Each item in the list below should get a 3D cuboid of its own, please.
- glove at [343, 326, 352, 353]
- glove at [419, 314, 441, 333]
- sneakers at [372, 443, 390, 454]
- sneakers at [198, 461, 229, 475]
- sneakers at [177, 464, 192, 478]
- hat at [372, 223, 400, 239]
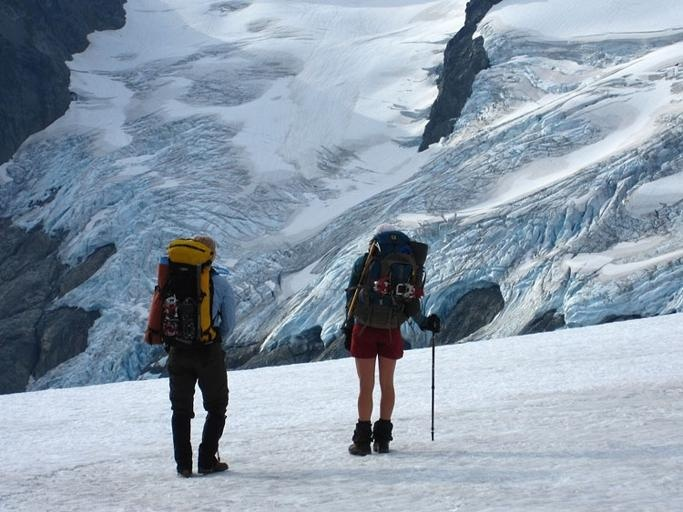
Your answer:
[{"bbox_3d":[0.123,1.573,17.350,0.236,0.451,0.378,4,-6,-9],"label":"glove"},{"bbox_3d":[1.684,1.284,17.498,0.479,0.368,0.336,3,-5,32],"label":"glove"},{"bbox_3d":[0.745,3.601,17.137,0.225,0.181,0.229,-14,-21,40],"label":"sneakers"},{"bbox_3d":[-2.343,3.901,16.877,0.627,0.205,0.198,-5,2,-18],"label":"sneakers"},{"bbox_3d":[-2.859,3.933,16.666,0.260,0.189,0.147,-7,14,-2],"label":"sneakers"},{"bbox_3d":[0.822,-0.488,17.403,0.442,0.277,0.305,-15,-11,27],"label":"hat"}]
